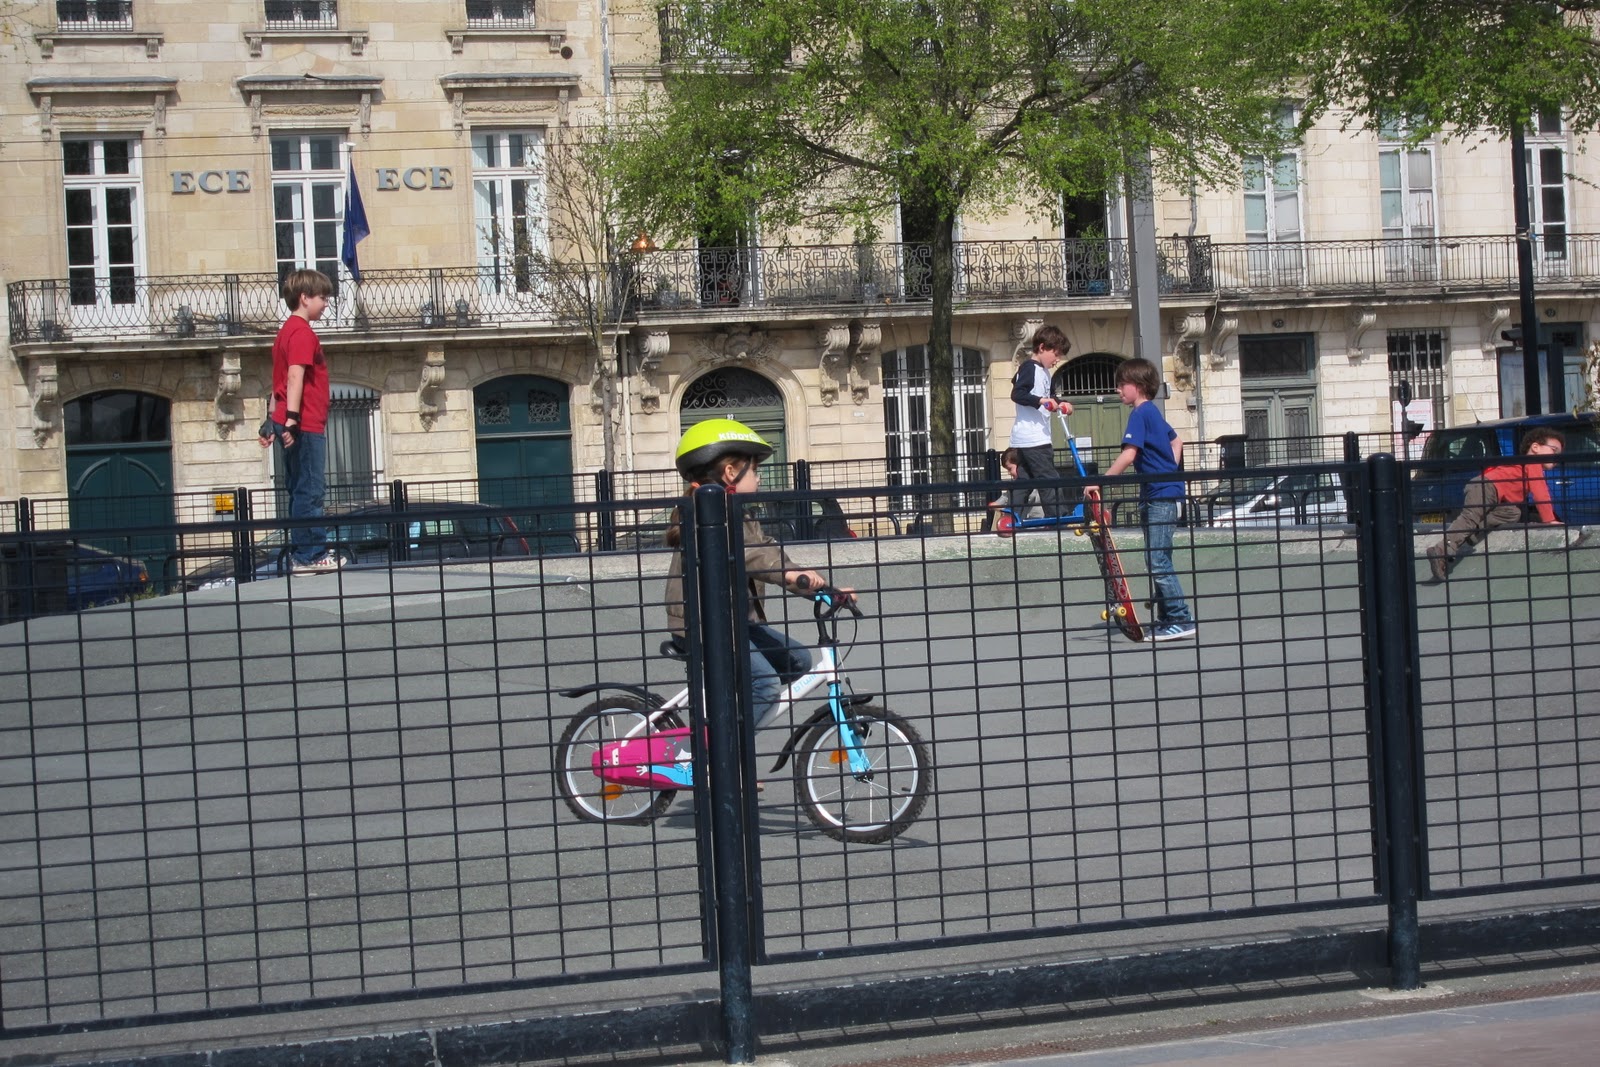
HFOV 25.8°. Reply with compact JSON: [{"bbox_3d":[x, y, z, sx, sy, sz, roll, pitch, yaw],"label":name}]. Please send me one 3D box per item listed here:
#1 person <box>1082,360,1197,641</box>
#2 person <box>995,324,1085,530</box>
[{"bbox_3d":[3.802,-0.364,38.438,1.067,3.048,1.010,-3,-5,25],"label":"person"},{"bbox_3d":[3.324,-1.501,47.690,1.010,2.441,1.004,-2,3,-22],"label":"person"}]
